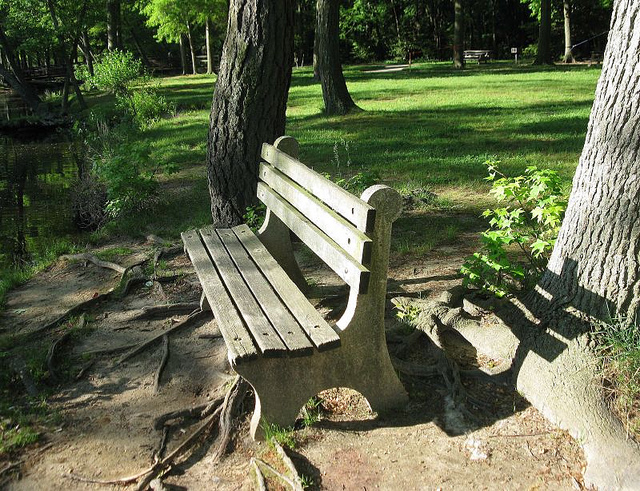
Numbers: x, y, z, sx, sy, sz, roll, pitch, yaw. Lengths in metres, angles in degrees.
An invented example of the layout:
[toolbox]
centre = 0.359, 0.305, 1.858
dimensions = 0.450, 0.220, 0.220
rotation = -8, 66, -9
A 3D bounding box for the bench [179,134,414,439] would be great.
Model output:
[bench]
centre = -0.354, 0.149, 5.007
dimensions = 1.199, 1.735, 2.658
rotation = -6, 19, -19
